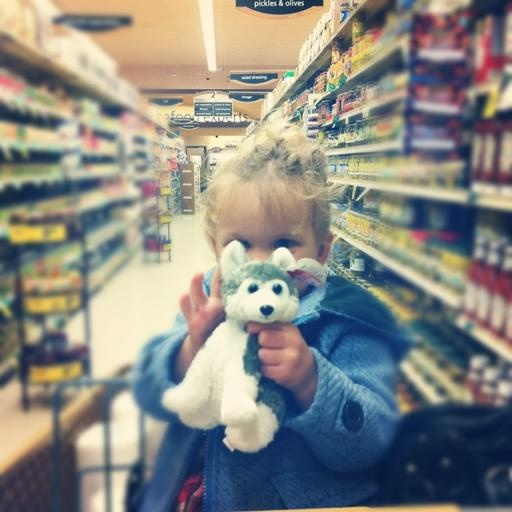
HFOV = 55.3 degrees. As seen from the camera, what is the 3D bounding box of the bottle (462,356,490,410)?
[{"bbox_3d":[0.296,0.166,0.661,0.019,0.062,0.063,5,-2,29],"label":"bottle"}]
